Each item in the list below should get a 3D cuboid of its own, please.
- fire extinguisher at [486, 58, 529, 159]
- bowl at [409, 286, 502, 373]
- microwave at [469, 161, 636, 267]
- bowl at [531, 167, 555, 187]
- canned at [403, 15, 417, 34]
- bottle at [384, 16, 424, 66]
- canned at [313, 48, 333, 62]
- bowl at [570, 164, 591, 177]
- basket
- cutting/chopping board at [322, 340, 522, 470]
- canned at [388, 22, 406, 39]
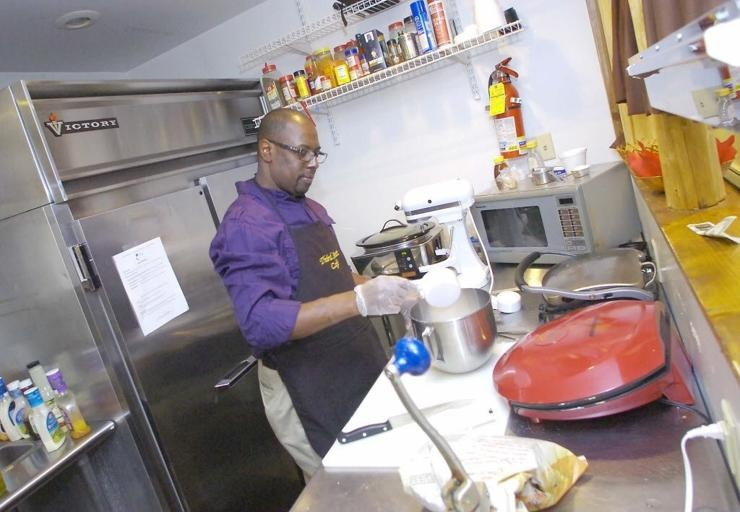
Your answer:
[{"bbox_3d":[0.696,-0.764,2.485,0.216,0.489,0.149,-1,17,43],"label":"fire extinguisher"},{"bbox_3d":[0.214,0.185,1.365,0.257,0.229,0.269,4,14,-1],"label":"bowl"},{"bbox_3d":[0.824,-0.187,2.160,0.431,0.312,0.583,-24,13,-34],"label":"microwave"},{"bbox_3d":[0.760,-0.356,2.125,0.075,0.057,0.118,-13,18,-16],"label":"bowl"},{"bbox_3d":[0.192,-1.167,2.387,0.046,0.086,0.093,-12,13,4],"label":"canned"},{"bbox_3d":[0.161,-1.097,2.430,0.117,0.213,0.213,-22,16,-34],"label":"bottle"},{"bbox_3d":[-0.256,-1.092,2.593,0.075,0.072,0.074,-4,17,-7],"label":"canned"},{"bbox_3d":[0.906,-0.371,2.078,0.082,0.029,0.056,-30,21,-36],"label":"bowl"},{"bbox_3d":[0.953,-0.308,1.572,0.221,0.085,0.220,-5,4,-2],"label":"basket"},{"bbox_3d":[0.135,0.394,1.215,0.321,0.008,0.363,-14,17,37],"label":"cutting/chopping board"},{"bbox_3d":[0.129,-1.161,2.431,0.084,0.080,0.085,8,20,26],"label":"canned"}]
